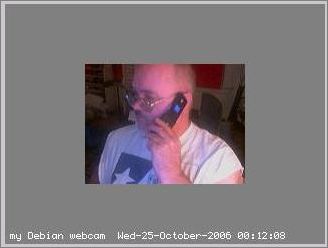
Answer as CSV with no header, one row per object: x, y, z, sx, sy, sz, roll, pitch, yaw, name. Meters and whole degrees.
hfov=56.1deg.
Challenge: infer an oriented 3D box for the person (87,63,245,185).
-0.043,0.063,3.400,0.963,1.531,1.612,4,-2,-43,person
